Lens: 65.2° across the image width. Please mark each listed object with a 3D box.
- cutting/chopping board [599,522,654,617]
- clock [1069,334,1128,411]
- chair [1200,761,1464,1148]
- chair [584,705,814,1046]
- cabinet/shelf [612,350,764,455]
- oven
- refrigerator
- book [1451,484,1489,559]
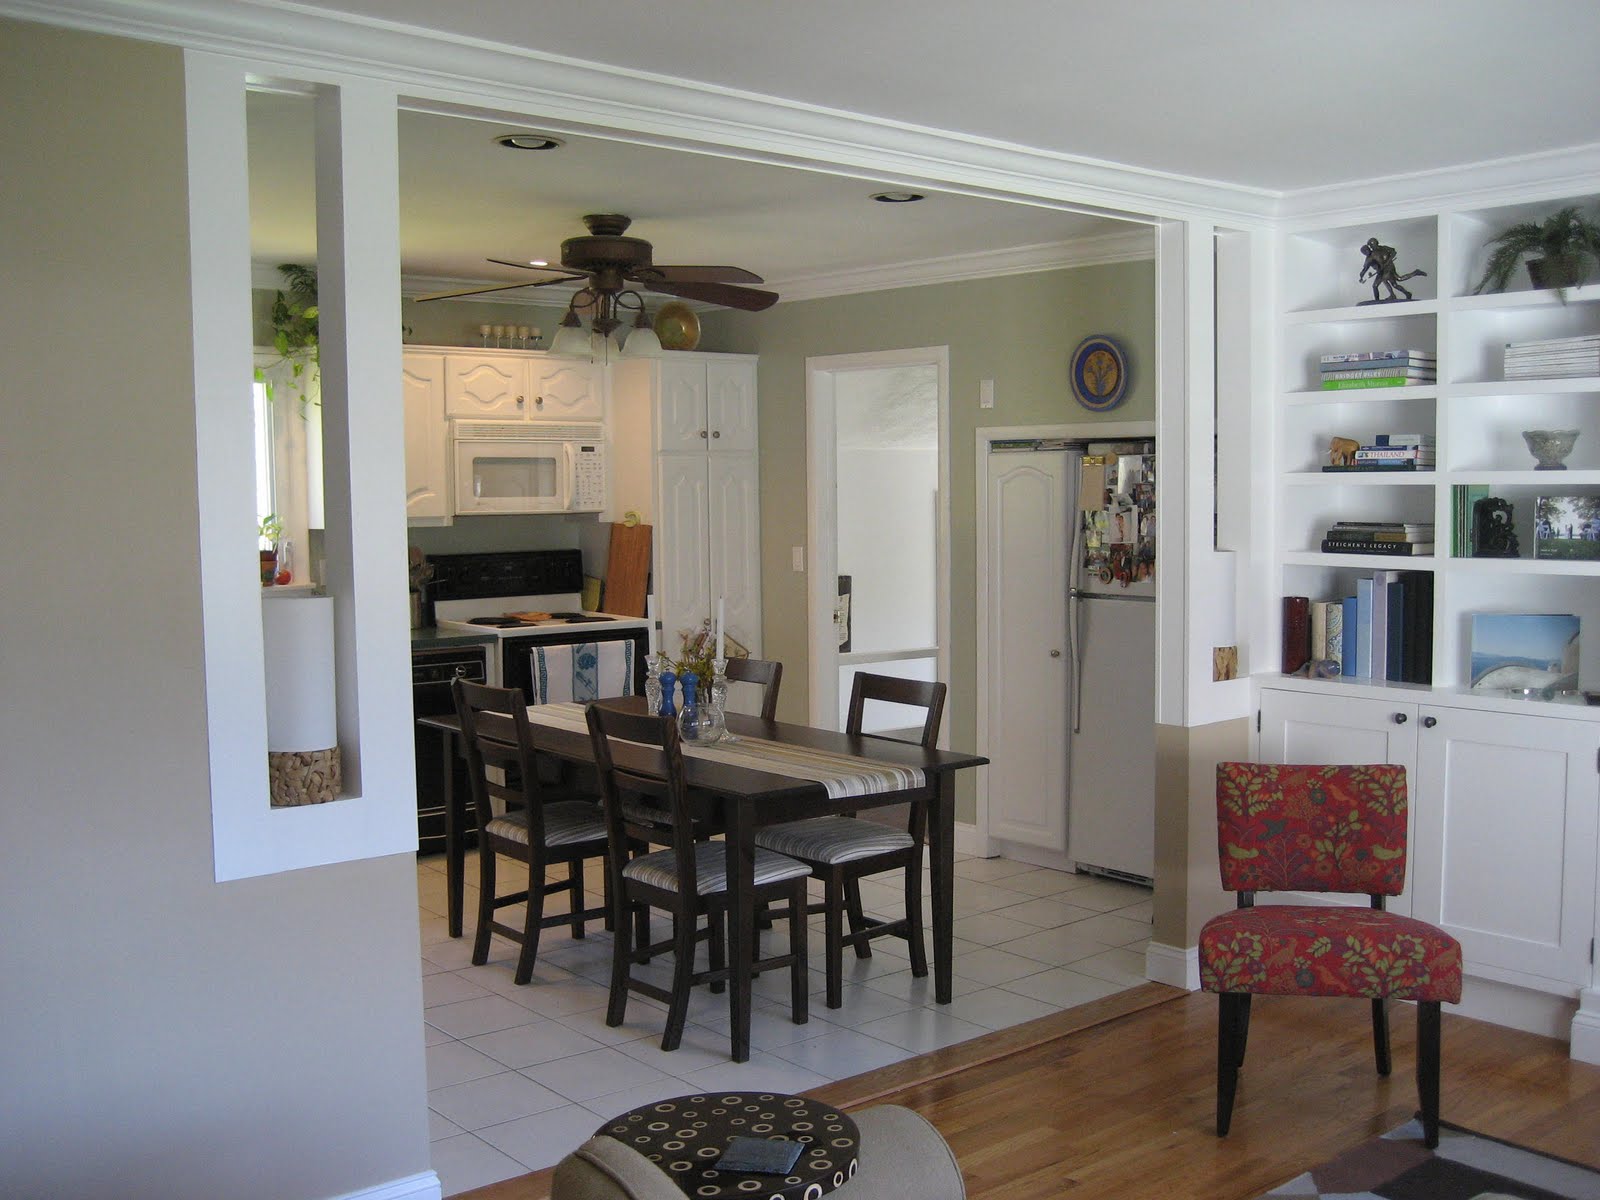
[{"bbox_3d":[-1.010,-0.187,7.347,0.093,0.631,0.455,-2,11,-39],"label":"cutting/chopping board"},{"bbox_3d":[1.406,-1.061,5.857,0.088,0.340,0.296,-5,8,-38],"label":"clock"},{"bbox_3d":[1.663,1.067,4.007,0.726,1.015,0.817,1,6,18],"label":"chair"},{"bbox_3d":[-0.424,0.938,4.598,0.698,1.188,1.019,-4,7,-29],"label":"chair"},{"bbox_3d":[-0.650,-1.143,7.280,0.818,0.561,0.307,-1,6,-4],"label":"cabinet/shelf"},{"bbox_3d":[-1.320,0.511,6.956,0.696,0.443,0.437,-5,12,-32],"label":"oven"},{"bbox_3d":[1.474,0.271,5.906,0.208,1.994,0.450,-4,7,-28],"label":"refrigerator"},{"bbox_3d":[2.486,-0.294,4.651,0.133,0.259,0.047,-3,6,-19],"label":"book"}]
